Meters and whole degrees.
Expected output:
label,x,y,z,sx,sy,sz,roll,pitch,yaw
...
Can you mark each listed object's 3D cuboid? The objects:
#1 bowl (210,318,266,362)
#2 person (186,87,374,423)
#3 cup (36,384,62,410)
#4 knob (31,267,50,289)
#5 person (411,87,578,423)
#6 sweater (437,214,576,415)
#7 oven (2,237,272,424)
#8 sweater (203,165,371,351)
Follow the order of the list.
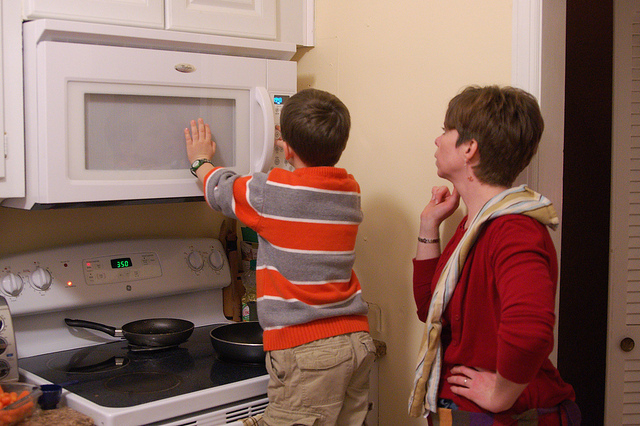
label,x,y,z,sx,sy,sz,roll,pitch,yaw
bowl,-0.315,0.508,2.168,0.230,0.086,0.237,6,7,-1
person,-0.130,0.159,2.199,0.696,1.164,0.725,6,15,4
cup,-0.879,0.599,1.819,0.075,0.072,0.085,3,-7,-6
knob,-1.067,0.249,2.134,0.060,0.085,0.072,-2,3,-38
person,0.561,0.178,1.731,0.494,1.093,0.348,8,14,33
sweater,0.521,0.328,1.682,0.300,0.631,0.238,3,12,12
oven,-0.674,0.361,2.073,0.754,0.503,0.709,-1,2,-39
sweater,-0.115,0.156,2.026,0.575,0.643,0.306,-2,12,-10
